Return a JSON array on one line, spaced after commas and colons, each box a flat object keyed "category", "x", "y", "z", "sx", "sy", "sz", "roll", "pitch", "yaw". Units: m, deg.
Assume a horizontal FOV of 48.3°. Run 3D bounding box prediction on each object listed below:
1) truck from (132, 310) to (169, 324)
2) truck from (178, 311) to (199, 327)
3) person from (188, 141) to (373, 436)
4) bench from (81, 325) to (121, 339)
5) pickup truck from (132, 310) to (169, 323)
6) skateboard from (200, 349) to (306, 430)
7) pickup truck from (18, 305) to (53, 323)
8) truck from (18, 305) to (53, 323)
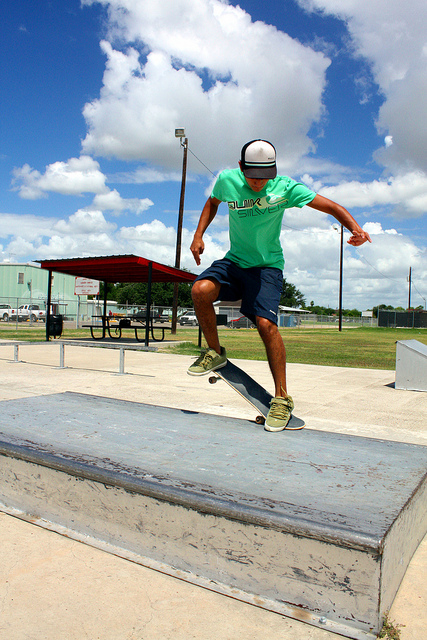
[{"category": "truck", "x": -4.614, "y": -0.253, "z": 37.725, "sx": 3.599, "sy": 1.275, "sz": 1.737, "roll": 0, "pitch": 0, "yaw": 3}, {"category": "truck", "x": -2.032, "y": -0.398, "z": 38.883, "sx": 1.398, "sy": 1.239, "sz": 2.804, "roll": 3, "pitch": 11, "yaw": 11}, {"category": "person", "x": 0.256, "y": -0.178, "z": 2.654, "sx": 0.888, "sy": 1.576, "sz": 0.528, "roll": 1, "pitch": 0, "yaw": 34}, {"category": "bench", "x": -4.258, "y": 0.458, "z": 18.757, "sx": 0.938, "sy": 0.333, "sz": 1.446, "roll": -4, "pitch": 7, "yaw": -44}, {"category": "pickup truck", "x": -3.734, "y": -0.194, "z": 29.104, "sx": 1.074, "sy": 0.781, "sz": 2.289, "roll": 1, "pitch": 3, "yaw": -13}, {"category": "skateboard", "x": 0.216, "y": 0.425, "z": 2.788, "sx": 0.412, "sy": 0.411, "sz": 0.687, "roll": 1, "pitch": 0, "yaw": -20}, {"category": "pickup truck", "x": -11.641, "y": -0.365, "z": 30.669, "sx": 2.161, "sy": 0.960, "sz": 1.094, "roll": 10, "pitch": 7, "yaw": 38}, {"category": "truck", "x": -11.623, "y": -0.365, "z": 30.644, "sx": 2.338, "sy": 1.041, "sz": 1.171, "roll": 7, "pitch": 4, "yaw": 41}]
